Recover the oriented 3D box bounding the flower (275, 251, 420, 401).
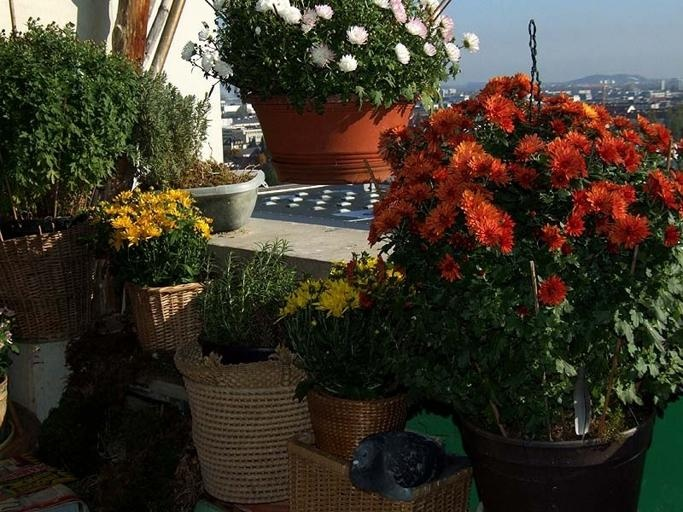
[{"bbox_3d":[0.024,0.250,1.648,0.556,0.626,0.473,-2,-2,2],"label":"flower"}]

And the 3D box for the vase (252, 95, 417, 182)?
[{"bbox_3d":[-0.050,-0.450,1.781,0.599,0.290,0.603,-13,20,-37],"label":"vase"}]

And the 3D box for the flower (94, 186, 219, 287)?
[{"bbox_3d":[-1.094,-0.086,2.934,0.699,0.495,0.585,1,-1,7],"label":"flower"}]

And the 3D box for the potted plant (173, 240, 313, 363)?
[{"bbox_3d":[-0.447,0.249,2.334,0.682,0.790,0.524,4,-1,0],"label":"potted plant"}]
